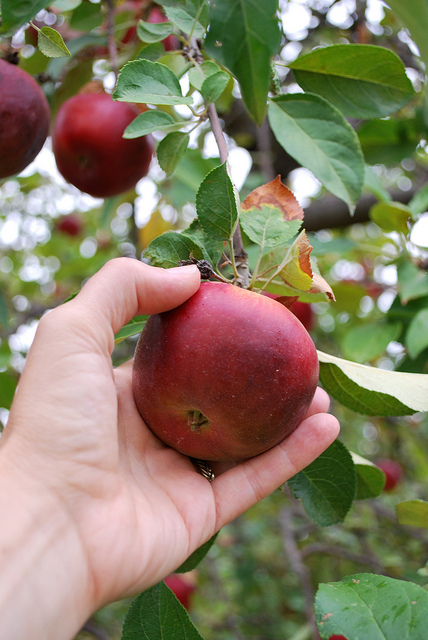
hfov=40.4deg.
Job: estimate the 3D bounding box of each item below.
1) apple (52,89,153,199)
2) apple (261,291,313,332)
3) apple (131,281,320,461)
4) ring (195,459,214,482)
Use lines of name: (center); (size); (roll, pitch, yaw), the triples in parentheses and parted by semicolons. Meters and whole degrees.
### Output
apple: (-0.333, -0.520, 1.774); (0.326, 0.317, 0.301); (1, 92, 18)
apple: (0.310, -0.016, 2.232); (0.176, 0.143, 0.096); (31, 87, 30)
apple: (-0.008, 0.098, 1.157); (0.362, 0.330, 0.305); (-2, 57, 0)
ring: (-0.024, 0.346, 1.377); (0.032, 0.025, 0.063); (-10, 57, -34)
